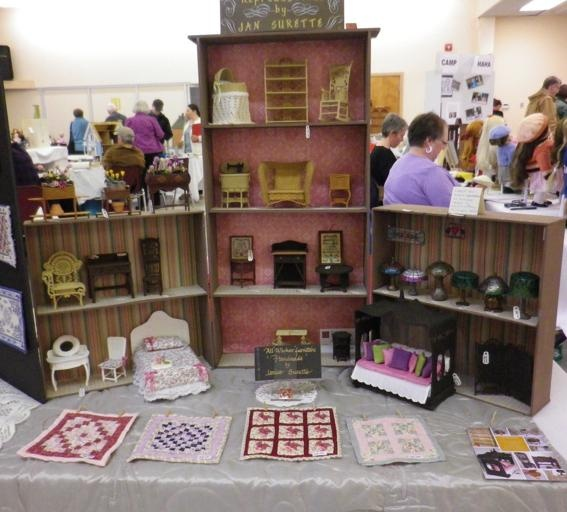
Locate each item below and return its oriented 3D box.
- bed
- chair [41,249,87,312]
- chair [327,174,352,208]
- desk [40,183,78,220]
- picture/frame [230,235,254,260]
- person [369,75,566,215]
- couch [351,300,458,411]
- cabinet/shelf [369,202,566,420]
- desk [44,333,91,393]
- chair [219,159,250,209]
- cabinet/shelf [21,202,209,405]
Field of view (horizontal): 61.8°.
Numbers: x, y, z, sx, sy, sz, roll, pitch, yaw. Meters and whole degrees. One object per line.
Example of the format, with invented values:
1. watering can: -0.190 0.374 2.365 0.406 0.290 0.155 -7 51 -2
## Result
1. bed: -0.897 0.764 3.711 0.516 0.443 0.728 -5 15 -18
2. chair: -1.689 0.182 3.634 0.305 0.412 0.253 -10 16 -25
3. chair: 0.464 -0.532 3.866 0.183 0.263 0.139 -1 14 7
4. desk: -1.679 -0.387 3.569 0.344 0.283 0.254 -2 8 -15
5. picture/frame: -0.359 -0.070 4.027 0.228 0.225 0.032 1 8 4
6. person: 1.192 -0.724 3.507 0.773 0.660 0.512 -22 33 -12
7. couch: 0.855 0.709 3.299 0.685 0.614 0.381 8 12 43
8. cabinet/shelf: 1.236 0.389 3.222 0.409 1.311 1.398 -6 10 -39
9. desk: -1.662 0.813 3.647 0.303 0.368 0.224 -7 12 -26
10. chair: -0.398 -0.584 3.858 0.365 0.487 0.344 0 9 -4
11. cabinet/shelf: -1.374 0.381 3.712 1.554 1.358 0.425 -4 8 -18
